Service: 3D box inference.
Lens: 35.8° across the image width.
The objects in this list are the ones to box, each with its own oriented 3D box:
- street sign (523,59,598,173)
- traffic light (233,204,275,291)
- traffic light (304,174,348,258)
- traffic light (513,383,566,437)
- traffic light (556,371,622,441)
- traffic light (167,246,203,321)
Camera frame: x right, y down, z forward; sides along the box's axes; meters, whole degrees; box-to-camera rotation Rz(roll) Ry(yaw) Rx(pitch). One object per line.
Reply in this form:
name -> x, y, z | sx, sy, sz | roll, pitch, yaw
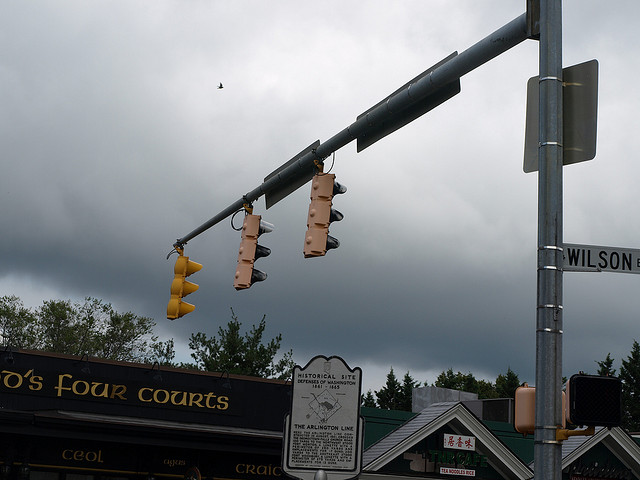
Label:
street sign -> 4.279, -2.162, 17.488 | 1.216, 1.935, 0.417 | -1, -15, 13
traffic light -> -1.456, 0.226, 22.081 | 0.634, 2.069, 0.519 | 19, -27, -26
traffic light -> 0.050, -0.513, 20.383 | 0.711, 1.811, 0.389 | 3, -14, -3
traffic light -> 3.828, 3.070, 17.205 | 0.971, 1.161, 0.567 | 1, 16, 15
traffic light -> 4.626, 2.700, 16.707 | 0.902, 0.841, 0.386 | -1, -15, 13
traffic light -> -3.463, 1.106, 25.054 | 0.782, 2.103, 0.535 | 6, -20, -7
